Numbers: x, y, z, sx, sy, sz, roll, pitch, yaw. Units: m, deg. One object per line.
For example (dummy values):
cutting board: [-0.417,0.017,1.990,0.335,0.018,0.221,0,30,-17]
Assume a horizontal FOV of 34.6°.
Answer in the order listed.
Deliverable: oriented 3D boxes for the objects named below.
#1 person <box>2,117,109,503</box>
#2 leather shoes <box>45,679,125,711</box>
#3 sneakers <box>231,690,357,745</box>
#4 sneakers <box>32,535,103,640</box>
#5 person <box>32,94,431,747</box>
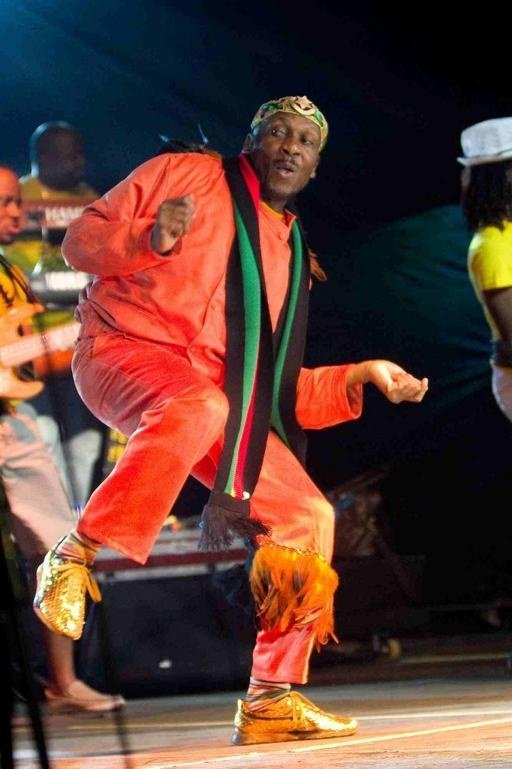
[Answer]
person: [-0.800,-0.343,3.251,0.629,1.292,0.168,1,-7,-28]
leather shoes: [-0.508,0.906,2.405,0.281,0.088,0.081,0,-6,0]
sneakers: [0.084,0.797,1.952,0.296,0.093,0.105,0,-15,-4]
sneakers: [-0.390,0.411,1.678,0.133,0.216,0.133,-1,12,-14]
person: [-0.075,0.051,1.957,0.910,1.521,0.688,-1,12,-14]
